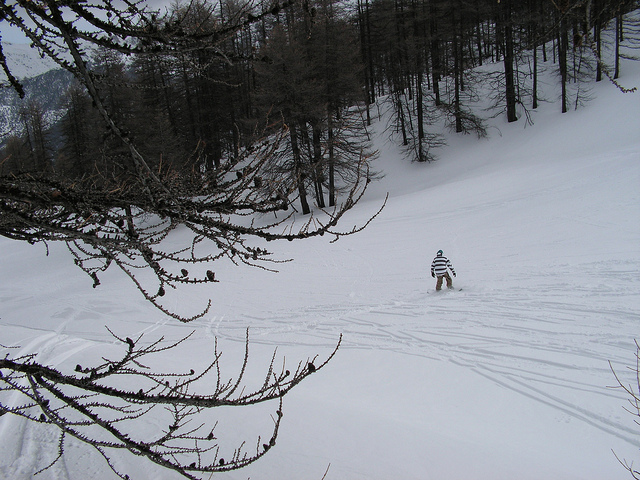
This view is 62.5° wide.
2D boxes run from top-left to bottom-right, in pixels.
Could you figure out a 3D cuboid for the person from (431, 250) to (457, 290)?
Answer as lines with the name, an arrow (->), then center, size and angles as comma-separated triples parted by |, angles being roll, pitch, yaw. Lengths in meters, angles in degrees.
person -> 3.821, 0.954, 16.401 | 0.683, 1.427, 0.618 | -6, 21, 11
